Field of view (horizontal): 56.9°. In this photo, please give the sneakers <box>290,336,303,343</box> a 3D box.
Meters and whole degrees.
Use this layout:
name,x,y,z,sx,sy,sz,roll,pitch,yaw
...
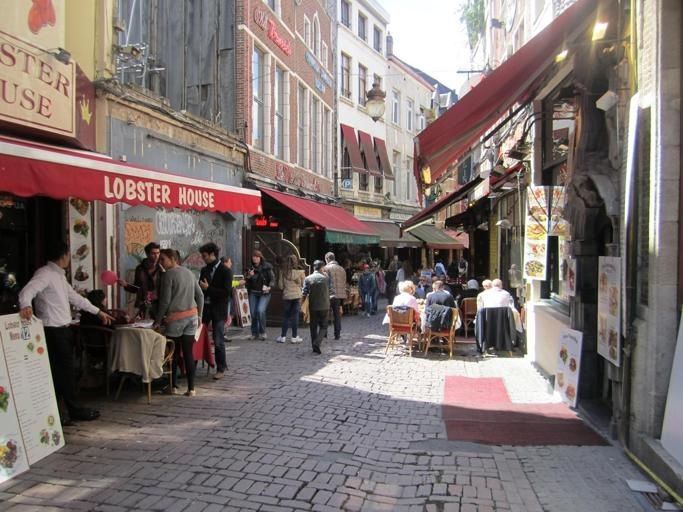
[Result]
name,x,y,z,sx,sy,sz,roll,pitch,yaw
sneakers,-0.960,1.751,13.374,0.254,0.140,0.107,-1,2,2

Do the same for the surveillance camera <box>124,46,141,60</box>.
name,x,y,z,sx,sy,sz,roll,pitch,yaw
surveillance camera,-3.932,-3.797,11.796,0.190,0.209,0.503,0,5,-2

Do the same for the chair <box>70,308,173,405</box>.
name,x,y,z,sx,sy,sz,roll,pitch,yaw
chair,-3.040,1.164,9.276,1.144,1.692,1.172,6,16,25

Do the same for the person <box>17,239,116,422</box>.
name,x,y,z,sx,sy,sz,roll,pitch,yaw
person,-3.592,0.991,7.967,0.460,2.292,1.348,2,5,25

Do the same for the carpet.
name,x,y,z,sx,sy,sz,roll,pitch,yaw
carpet,2.318,2.134,8.842,1.901,0.066,2.651,1,5,2

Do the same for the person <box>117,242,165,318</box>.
name,x,y,z,sx,sy,sz,roll,pitch,yaw
person,-3.361,0.666,10.566,0.702,1.703,0.485,5,9,-26
